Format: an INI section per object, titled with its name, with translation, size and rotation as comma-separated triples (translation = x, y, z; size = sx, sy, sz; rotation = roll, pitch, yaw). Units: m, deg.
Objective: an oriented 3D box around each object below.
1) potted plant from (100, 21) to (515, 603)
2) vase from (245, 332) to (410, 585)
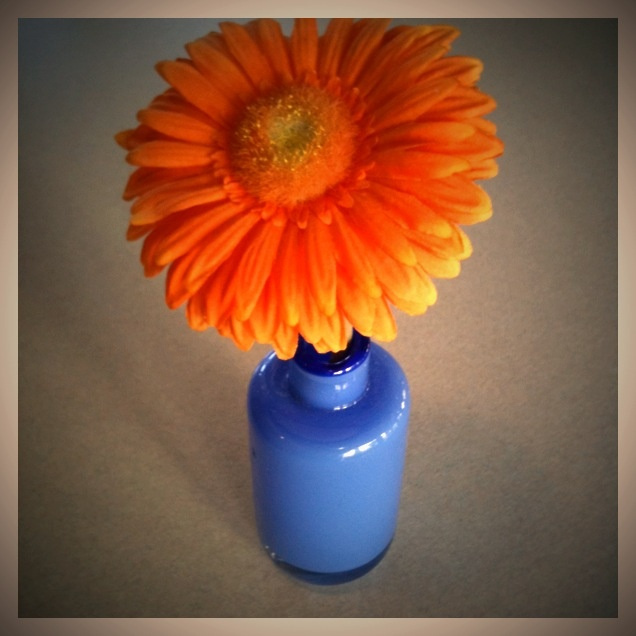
[potted plant]
translation = -0.019, 0.022, 0.769
size = 0.330, 0.367, 0.542
rotation = -16, -35, -11
[vase]
translation = 0.011, 0.145, 0.851
size = 0.172, 0.177, 0.286
rotation = -1, -53, 0
